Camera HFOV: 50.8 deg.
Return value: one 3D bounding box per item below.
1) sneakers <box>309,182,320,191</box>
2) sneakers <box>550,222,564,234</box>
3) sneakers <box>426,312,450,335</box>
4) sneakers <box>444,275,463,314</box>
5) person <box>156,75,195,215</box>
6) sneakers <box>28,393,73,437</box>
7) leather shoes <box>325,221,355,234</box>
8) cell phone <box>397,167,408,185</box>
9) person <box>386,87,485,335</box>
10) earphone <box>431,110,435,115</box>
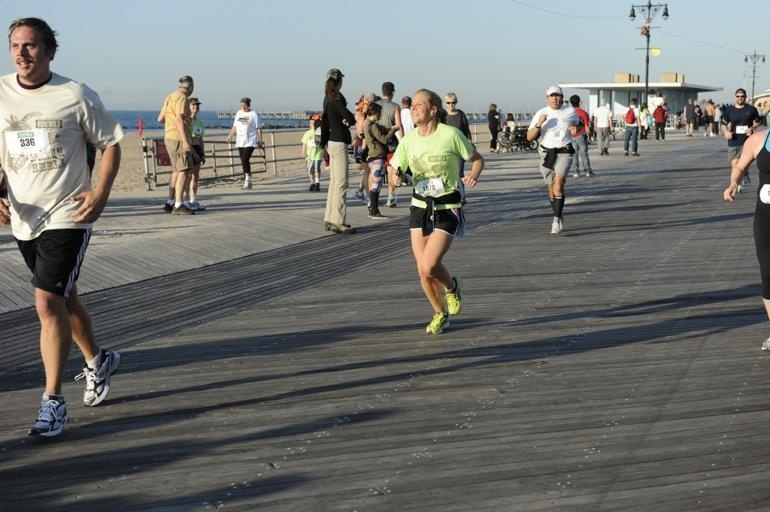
[{"bbox_3d":[-1.620,-1.598,18.884,0.243,0.205,0.568,0,8,-5],"label":"sneakers"},{"bbox_3d":[2.606,-0.412,12.287,0.225,0.200,0.551,0,0,15],"label":"sneakers"},{"bbox_3d":[0.478,0.643,7.586,0.122,0.122,0.323,-2,6,33],"label":"sneakers"},{"bbox_3d":[0.687,0.377,7.816,0.154,0.339,0.207,4,7,22],"label":"sneakers"},{"bbox_3d":[-3.541,-1.847,13.832,0.552,2.339,1.457,-2,11,-14],"label":"person"},{"bbox_3d":[-2.341,1.117,5.706,0.171,0.275,0.289,3,11,11],"label":"sneakers"},{"bbox_3d":[-0.699,-0.410,12.627,0.514,0.163,0.168,1,7,18],"label":"leather shoes"},{"bbox_3d":[0.144,-0.750,7.722,0.170,0.134,0.065,-9,8,-42],"label":"cell phone"},{"bbox_3d":[0.470,-0.419,7.637,0.855,2.236,0.671,1,11,0],"label":"person"},{"bbox_3d":[0.442,-1.324,7.476,0.030,0.031,0.010,4,39,10],"label":"earphone"}]
